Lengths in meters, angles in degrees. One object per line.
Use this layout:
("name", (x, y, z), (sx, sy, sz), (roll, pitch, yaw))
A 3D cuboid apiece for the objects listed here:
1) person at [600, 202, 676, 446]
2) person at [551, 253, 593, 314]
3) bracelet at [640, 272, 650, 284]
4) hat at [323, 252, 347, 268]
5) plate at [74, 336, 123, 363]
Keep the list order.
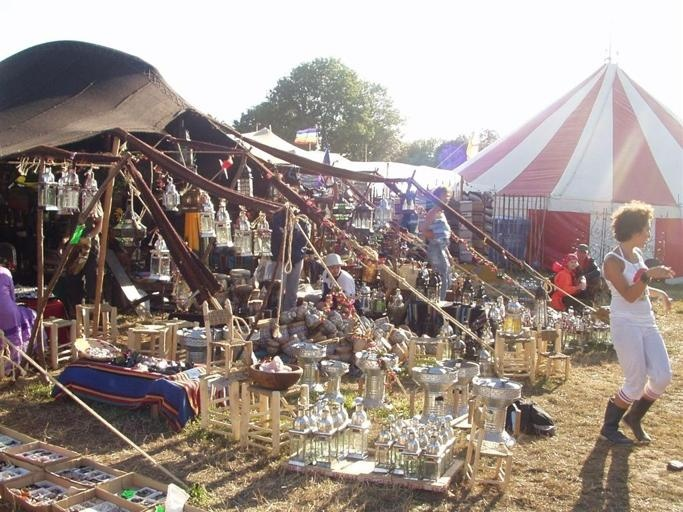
("person", (3.225, 0.711, 7.411), (0.669, 2.669, 0.862), (-1, -7, 23))
("person", (4.218, 0.546, 12.395), (0.618, 1.256, 0.619), (-6, 19, -6))
("bracelet", (3.204, 0.237, 7.192), (0.104, 0.117, 0.110), (-7, 11, -23))
("hat", (-0.155, 0.085, 10.480), (0.241, 0.142, 0.203), (-9, 6, 18))
("plate", (-3.152, 1.233, 8.783), (0.410, 0.121, 0.411), (25, 6, 14))
